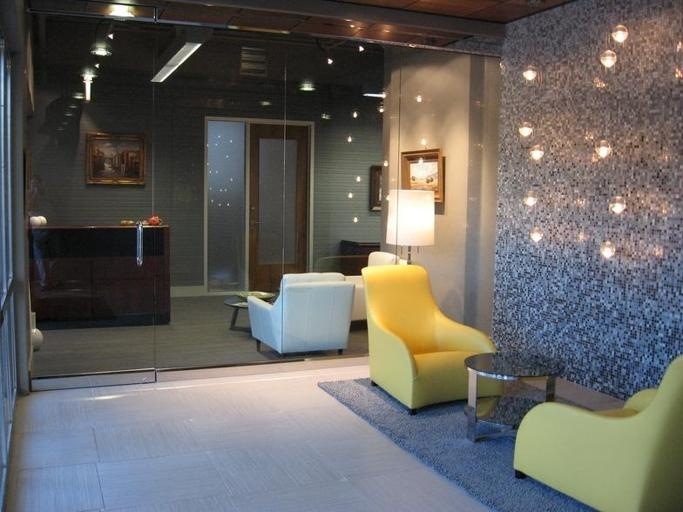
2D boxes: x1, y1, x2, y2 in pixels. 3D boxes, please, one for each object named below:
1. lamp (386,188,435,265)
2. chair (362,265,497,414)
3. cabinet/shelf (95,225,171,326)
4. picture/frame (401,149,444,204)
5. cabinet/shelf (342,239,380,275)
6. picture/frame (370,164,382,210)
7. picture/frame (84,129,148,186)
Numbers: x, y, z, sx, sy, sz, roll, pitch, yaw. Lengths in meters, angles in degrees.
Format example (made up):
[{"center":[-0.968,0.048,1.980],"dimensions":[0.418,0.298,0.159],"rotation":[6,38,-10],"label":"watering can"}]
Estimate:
[{"center":[0.801,-0.409,5.957],"dimensions":[0.580,0.975,0.601],"rotation":[-1,7,-11],"label":"lamp"},{"center":[0.645,0.691,5.098],"dimensions":[0.974,1.097,1.319],"rotation":[-2,1,-26],"label":"chair"},{"center":[-1.986,0.176,5.329],"dimensions":[0.479,0.842,0.640],"rotation":[-2,5,-33],"label":"cabinet/shelf"},{"center":[0.897,-0.875,6.165],"dimensions":[0.469,0.538,0.047],"rotation":[3,12,33],"label":"picture/frame"},{"center":[0.143,-0.016,6.020],"dimensions":[0.445,0.426,0.319],"rotation":[1,0,-31],"label":"cabinet/shelf"},{"center":[0.360,-0.723,5.916],"dimensions":[0.162,0.483,0.045],"rotation":[-4,12,-26],"label":"picture/frame"},{"center":[-2.051,-0.893,4.964],"dimensions":[0.527,0.520,0.054],"rotation":[-1,9,-22],"label":"picture/frame"}]
